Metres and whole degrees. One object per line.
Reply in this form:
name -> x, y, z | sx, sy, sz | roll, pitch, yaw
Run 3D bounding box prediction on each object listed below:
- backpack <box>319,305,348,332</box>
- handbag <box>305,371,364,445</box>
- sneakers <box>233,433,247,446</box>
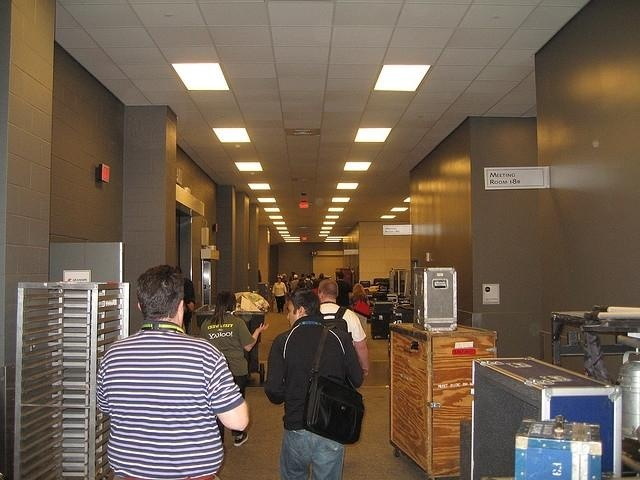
backpack -> 0.146, 0.764, 4.693 | 0.340, 0.184, 0.255 | 14, 3, 3
handbag -> 0.076, 1.140, 3.310 | 0.421, 0.382, 0.225 | 20, -23, -24
sneakers -> -0.896, 2.184, 5.451 | 0.074, 0.091, 0.209 | 3, 10, 12
